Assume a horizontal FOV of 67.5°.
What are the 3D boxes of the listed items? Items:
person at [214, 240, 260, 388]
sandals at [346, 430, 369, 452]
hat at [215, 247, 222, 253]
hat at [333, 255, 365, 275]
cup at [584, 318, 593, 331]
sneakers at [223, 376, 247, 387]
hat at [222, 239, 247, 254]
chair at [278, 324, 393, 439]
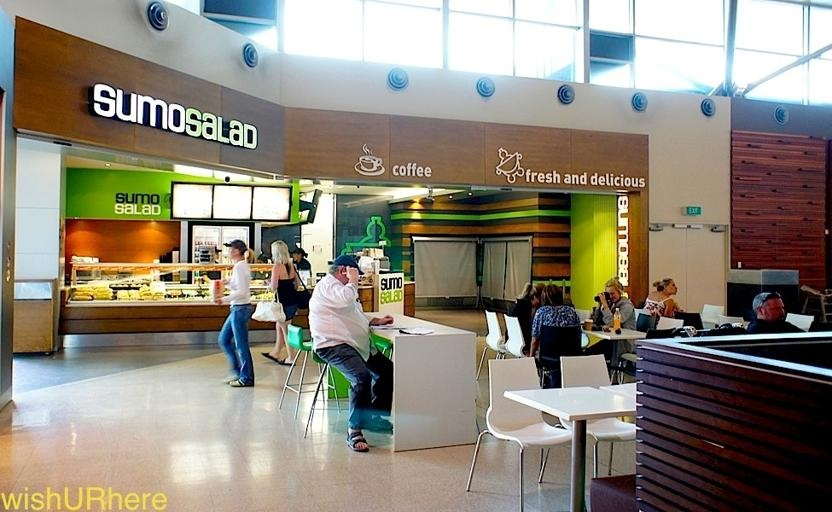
[{"bbox_3d":[-2.717,0.831,9.365,0.481,2.134,0.854,-2,9,-16],"label":"person"},{"bbox_3d":[-0.672,2.147,7.166,0.141,0.141,0.326,3,-9,-21],"label":"sandals"},{"bbox_3d":[-4.682,-0.138,14.688,0.158,0.108,0.154,6,-8,-25],"label":"hat"},{"bbox_3d":[-0.710,0.089,7.681,0.550,0.259,0.332,3,1,-21],"label":"hat"},{"bbox_3d":[2.540,1.029,9.159,0.142,0.123,0.130,2,-1,0],"label":"cup"},{"bbox_3d":[-2.689,1.879,9.250,0.321,0.115,0.151,9,-8,-9],"label":"sneakers"},{"bbox_3d":[-2.745,-0.164,9.254,0.408,0.214,0.270,11,-3,-2],"label":"hat"},{"bbox_3d":[-1.115,1.672,8.880,1.553,1.993,1.379,2,0,-11],"label":"chair"}]
